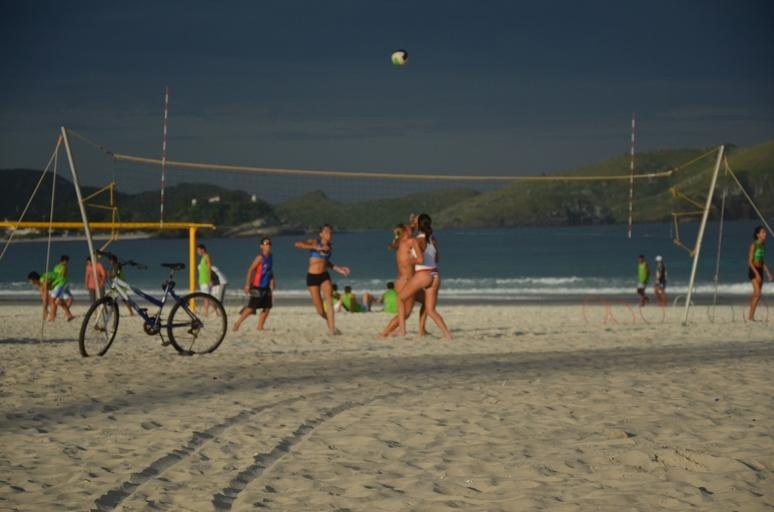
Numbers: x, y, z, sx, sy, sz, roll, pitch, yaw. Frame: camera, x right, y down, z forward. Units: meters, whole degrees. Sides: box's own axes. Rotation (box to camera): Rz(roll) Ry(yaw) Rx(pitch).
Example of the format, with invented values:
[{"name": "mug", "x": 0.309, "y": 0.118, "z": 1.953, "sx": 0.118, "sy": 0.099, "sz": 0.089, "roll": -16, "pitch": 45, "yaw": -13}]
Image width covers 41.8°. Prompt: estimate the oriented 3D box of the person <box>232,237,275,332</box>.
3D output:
[{"name": "person", "x": -2.581, "y": 0.571, "z": 19.570, "sx": 0.682, "sy": 1.818, "sz": 1.292, "roll": 0, "pitch": 1, "yaw": -9}]
